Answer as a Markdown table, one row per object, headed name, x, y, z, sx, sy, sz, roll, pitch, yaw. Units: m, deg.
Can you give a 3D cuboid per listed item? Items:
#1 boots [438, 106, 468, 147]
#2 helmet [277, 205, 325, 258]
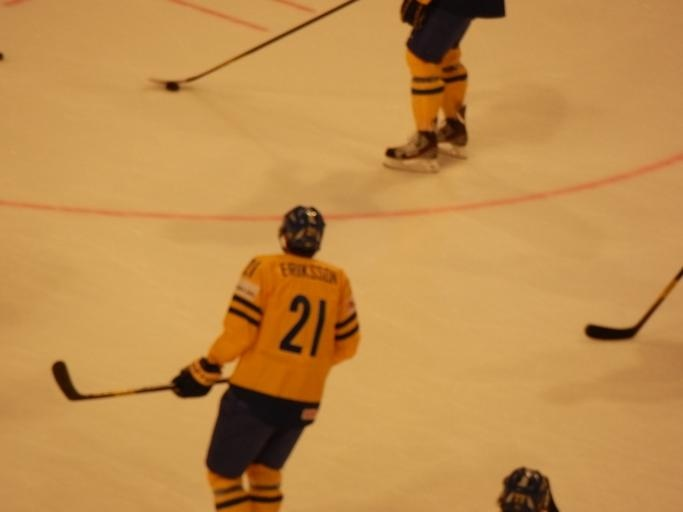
| name | x | y | z | sx | sy | sz | roll | pitch | yaw |
| --- | --- | --- | --- | --- | --- | --- | --- | --- | --- |
| boots | 0.733 | -0.891 | 6.833 | 0.262 | 0.283 | 0.121 | -7 | 10 | 7 |
| helmet | -0.196 | -0.129 | 4.936 | 0.186 | 0.250 | 0.242 | 1 | 17 | -5 |
